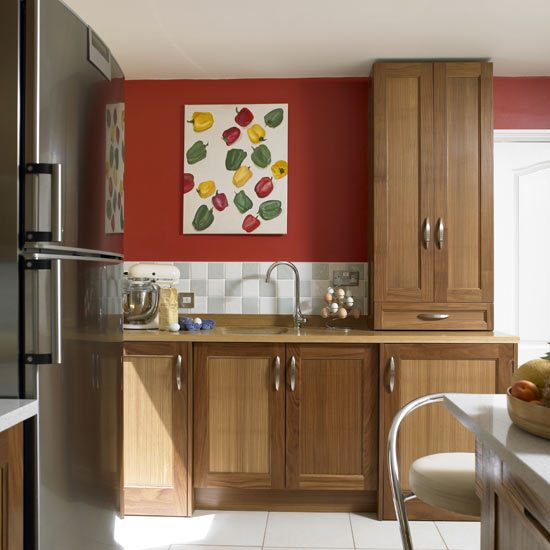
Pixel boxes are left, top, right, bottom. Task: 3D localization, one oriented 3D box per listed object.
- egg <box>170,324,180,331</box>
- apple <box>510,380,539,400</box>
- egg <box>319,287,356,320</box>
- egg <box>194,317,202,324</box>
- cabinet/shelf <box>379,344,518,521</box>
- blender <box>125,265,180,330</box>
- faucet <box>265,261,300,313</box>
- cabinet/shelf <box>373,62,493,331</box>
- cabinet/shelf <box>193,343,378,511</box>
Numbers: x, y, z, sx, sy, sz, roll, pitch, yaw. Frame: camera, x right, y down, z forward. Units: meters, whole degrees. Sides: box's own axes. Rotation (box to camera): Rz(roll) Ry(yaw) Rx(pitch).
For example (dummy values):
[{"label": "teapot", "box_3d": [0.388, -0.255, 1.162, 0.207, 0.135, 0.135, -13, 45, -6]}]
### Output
[{"label": "egg", "box_3d": [-0.524, 0.271, 3.083, 0.033, 0.024, 0.040, 2, 4, 4]}, {"label": "apple", "box_3d": [0.601, 0.279, 1.428, 0.042, 0.041, 0.045, -3, 31, -38]}, {"label": "egg", "box_3d": [0.355, 0.162, 3.378, 0.172, 0.189, 0.055, 3, -11, -11]}, {"label": "egg", "box_3d": [-0.422, 0.251, 3.224, 0.029, 0.015, 0.040, 2, 10, -5]}, {"label": "cabinet/shelf", "box_3d": [0.895, 0.695, 3.166, 0.697, 0.956, 0.697, 4, 14, 25]}, {"label": "blender", "box_3d": [-0.680, 0.114, 3.255, 0.298, 0.347, 0.440, -1, 5, -11]}, {"label": "faucet", "box_3d": [0.047, 0.071, 3.409, 0.206, 0.301, 0.232, 0, 4, -2]}, {"label": "cabinet/shelf", "box_3d": [0.874, -0.440, 3.299, 0.602, 1.497, 0.348, 0, 21, 15]}, {"label": "cabinet/shelf", "box_3d": [0.053, 0.657, 3.102, 0.896, 0.857, 0.354, 0, 18, 1]}]
